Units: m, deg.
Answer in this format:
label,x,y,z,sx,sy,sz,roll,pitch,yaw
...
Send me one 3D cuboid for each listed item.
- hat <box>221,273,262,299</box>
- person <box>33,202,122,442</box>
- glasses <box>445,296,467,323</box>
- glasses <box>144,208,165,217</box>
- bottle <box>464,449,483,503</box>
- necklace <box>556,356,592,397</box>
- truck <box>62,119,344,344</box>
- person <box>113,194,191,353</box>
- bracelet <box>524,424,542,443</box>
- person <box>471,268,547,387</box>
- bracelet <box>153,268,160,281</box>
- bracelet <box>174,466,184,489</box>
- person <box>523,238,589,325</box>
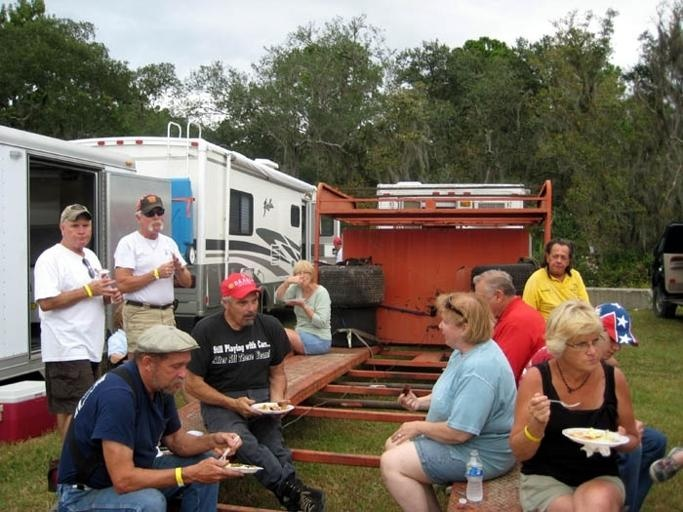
label,x,y,z,sx,sy,sz,roll,pitch,yaw
hat,-0.835,0.230,5.292,0.181,0.149,0.242,-6,-9,-40
person,-2.248,0.714,5.919,0.679,2.343,0.837,2,5,-8
glasses,0.765,0.371,4.722,0.150,0.039,0.115,42,-2,-18
glasses,-1.762,-0.389,6.408,0.099,0.029,0.095,-18,-6,-40
bottle,0.886,1.473,4.610,0.118,0.313,0.241,1,2,11
necklace,1.463,0.768,4.356,0.172,0.252,0.063,5,5,10
truck,-2.180,-0.191,12.084,2.731,2.774,5.664,-4,-1,15
person,-1.760,0.497,6.521,0.603,2.139,0.743,4,5,43
bracelet,1.166,1.114,4.216,0.098,0.100,0.026,25,-53,-33
person,1.404,0.765,5.796,0.645,1.320,0.686,-5,12,14
bracelet,-1.692,0.171,6.246,0.029,0.093,0.061,-7,12,-43
bracelet,-1.003,1.371,4.207,0.066,0.106,0.092,5,34,-12
person,2.110,0.331,6.718,0.621,0.962,0.455,3,8,14
